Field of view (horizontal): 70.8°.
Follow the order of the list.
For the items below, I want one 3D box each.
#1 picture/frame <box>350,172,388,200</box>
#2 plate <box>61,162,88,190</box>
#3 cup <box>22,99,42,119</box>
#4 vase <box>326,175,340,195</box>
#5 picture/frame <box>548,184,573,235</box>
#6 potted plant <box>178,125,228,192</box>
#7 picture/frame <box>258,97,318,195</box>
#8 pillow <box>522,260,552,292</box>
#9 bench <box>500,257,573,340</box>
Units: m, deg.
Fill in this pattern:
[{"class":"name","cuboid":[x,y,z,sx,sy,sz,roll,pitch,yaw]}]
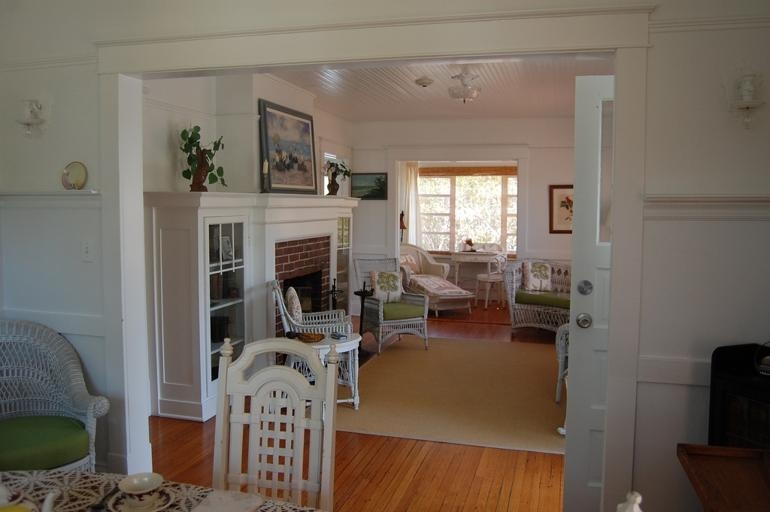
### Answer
[{"class":"picture/frame","cuboid":[-0.231,-1.128,8.661,0.585,0.428,0.039,1,1,6]},{"class":"plate","cuboid":[-2.086,-0.544,3.652,0.199,0.192,0.052,3,6,24]},{"class":"cup","cuboid":[-2.343,-0.990,3.623,0.098,0.139,0.199,-3,7,-31]},{"class":"vase","cuboid":[-0.700,-0.959,7.301,0.123,0.272,0.485,0,6,-5]},{"class":"picture/frame","cuboid":[2.694,-0.722,8.301,0.354,0.751,0.200,4,6,35]},{"class":"potted plant","cuboid":[-1.739,-0.931,5.136,0.349,0.623,0.706,0,6,-3]},{"class":"picture/frame","cuboid":[-1.058,-1.178,6.030,0.035,0.878,1.143,-1,7,21]},{"class":"pillow","cuboid":[2.136,0.286,7.602,0.371,0.385,0.152,2,2,9]},{"class":"bench","cuboid":[2.149,0.544,7.595,1.231,1.100,0.961,-1,-5,28]}]
